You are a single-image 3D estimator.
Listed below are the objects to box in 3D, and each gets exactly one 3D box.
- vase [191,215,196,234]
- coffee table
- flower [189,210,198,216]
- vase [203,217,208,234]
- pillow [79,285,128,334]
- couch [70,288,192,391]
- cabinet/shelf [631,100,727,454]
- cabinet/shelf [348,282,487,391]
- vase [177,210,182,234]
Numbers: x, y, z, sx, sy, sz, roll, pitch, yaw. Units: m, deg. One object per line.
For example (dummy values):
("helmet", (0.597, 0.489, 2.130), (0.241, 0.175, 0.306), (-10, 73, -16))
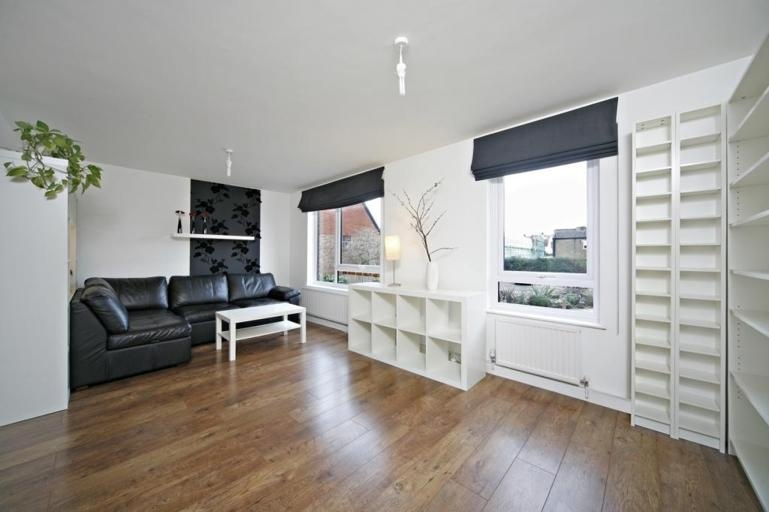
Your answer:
("vase", (-2.914, -0.507, 7.110), (0.071, 0.270, 0.087), (-3, 11, -19))
("coffee table", (-1.761, 0.940, 6.354), (1.148, 0.566, 0.982), (-8, 14, -42))
("flower", (-2.917, -0.667, 7.137), (0.095, 0.099, 0.090), (1, 8, 3))
("vase", (-2.774, -0.486, 7.202), (0.076, 0.244, 0.092), (-1, 11, -12))
("pillow", (-3.185, 0.569, 5.414), (0.376, 0.354, 0.923), (-7, 14, -32))
("couch", (-2.898, 0.779, 5.329), (1.109, 0.841, 1.085), (0, 3, -40))
("cabinet/shelf", (2.696, 0.144, 4.305), (0.993, 3.009, 0.618), (7, 12, 27))
("cabinet/shelf", (0.346, 0.820, 5.629), (1.798, 0.989, 0.578), (10, 13, 39))
("vase", (-3.042, -0.516, 6.938), (0.081, 0.320, 0.232), (-3, 11, -19))
